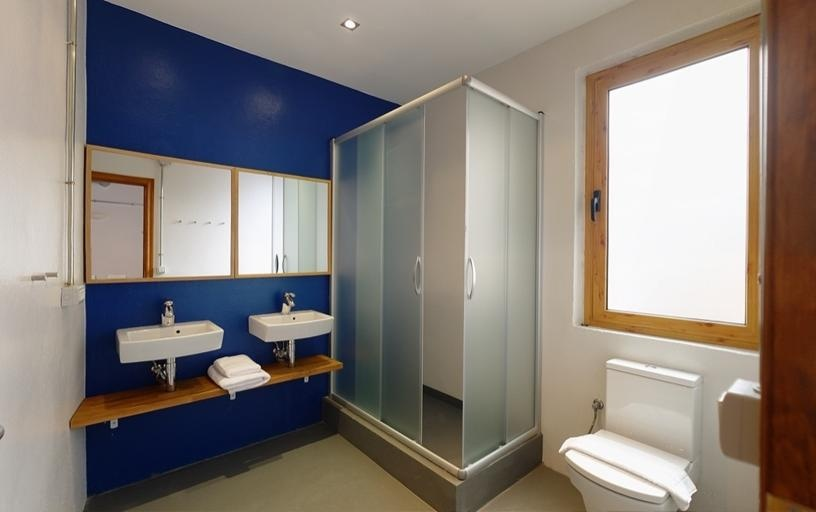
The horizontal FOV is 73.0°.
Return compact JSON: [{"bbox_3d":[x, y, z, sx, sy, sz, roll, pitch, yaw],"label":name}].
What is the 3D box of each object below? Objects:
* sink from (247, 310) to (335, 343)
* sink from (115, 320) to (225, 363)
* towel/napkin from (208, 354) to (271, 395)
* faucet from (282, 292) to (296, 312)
[{"bbox_3d":[-0.986,0.630,4.684,0.608,0.271,0.459,-4,4,-32],"label":"sink"},{"bbox_3d":[-1.808,0.680,4.183,0.699,0.274,0.410,-4,4,-29],"label":"sink"},{"bbox_3d":[-1.325,0.876,4.357,0.352,0.129,0.350,-4,17,-36],"label":"towel/napkin"},{"bbox_3d":[-1.050,0.411,4.850,0.114,0.172,0.181,-2,3,-6],"label":"faucet"}]
